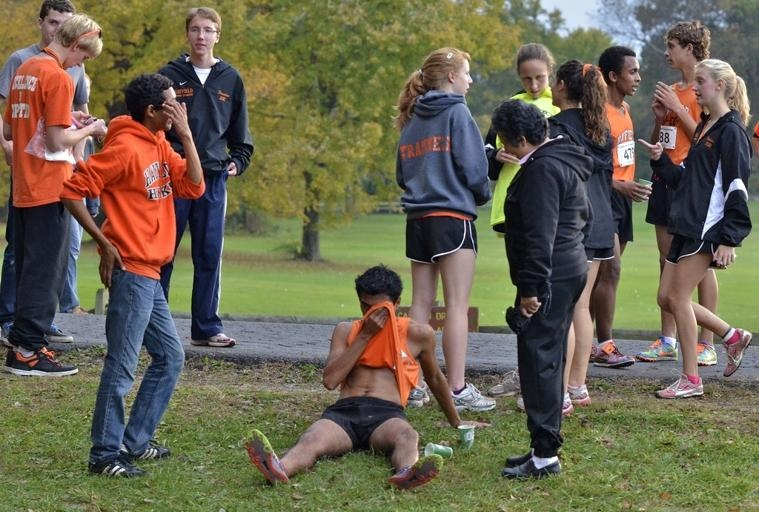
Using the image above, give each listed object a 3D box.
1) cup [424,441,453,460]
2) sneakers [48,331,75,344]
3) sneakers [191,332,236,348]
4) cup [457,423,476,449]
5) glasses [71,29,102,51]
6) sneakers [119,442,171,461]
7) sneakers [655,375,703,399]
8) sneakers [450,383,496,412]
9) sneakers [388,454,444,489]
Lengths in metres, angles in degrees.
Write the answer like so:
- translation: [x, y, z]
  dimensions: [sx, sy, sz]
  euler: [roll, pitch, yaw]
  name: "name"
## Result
- translation: [0.509, 1.763, 11.412]
  dimensions: [0.296, 0.185, 0.190]
  euler: [4, 1, -24]
  name: "cup"
- translation: [-3.499, 0.894, 13.864]
  dimensions: [0.266, 0.109, 0.117]
  euler: [1, 2, -1]
  name: "sneakers"
- translation: [-1.839, 0.918, 13.933]
  dimensions: [0.453, 0.194, 0.179]
  euler: [-1, 1, 3]
  name: "sneakers"
- translation: [0.798, 1.695, 11.865]
  dimensions: [0.184, 0.150, 0.185]
  euler: [-1, -3, 0]
  name: "cup"
- translation: [-2.959, -2.193, 12.750]
  dimensions: [0.262, 0.143, 0.193]
  euler: [9, 18, 29]
  name: "glasses"
- translation: [-2.132, 1.778, 11.513]
  dimensions: [0.445, 0.178, 0.158]
  euler: [-2, 18, -29]
  name: "sneakers"
- translation: [3.068, 1.358, 12.911]
  dimensions: [0.502, 0.212, 0.203]
  euler: [-1, -4, -5]
  name: "sneakers"
- translation: [0.880, 1.412, 12.510]
  dimensions: [0.514, 0.237, 0.203]
  euler: [6, 8, -20]
  name: "sneakers"
- translation: [0.304, 1.923, 11.186]
  dimensions: [0.492, 0.216, 0.206]
  euler: [-18, 48, -3]
  name: "sneakers"
